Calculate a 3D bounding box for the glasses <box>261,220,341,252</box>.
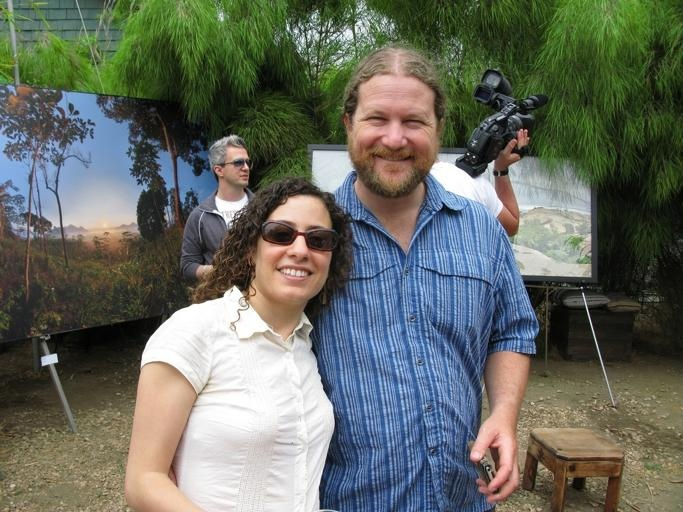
[{"bbox_3d":[-0.172,-0.084,2.218,0.164,0.056,0.177,9,-25,-12],"label":"glasses"}]
